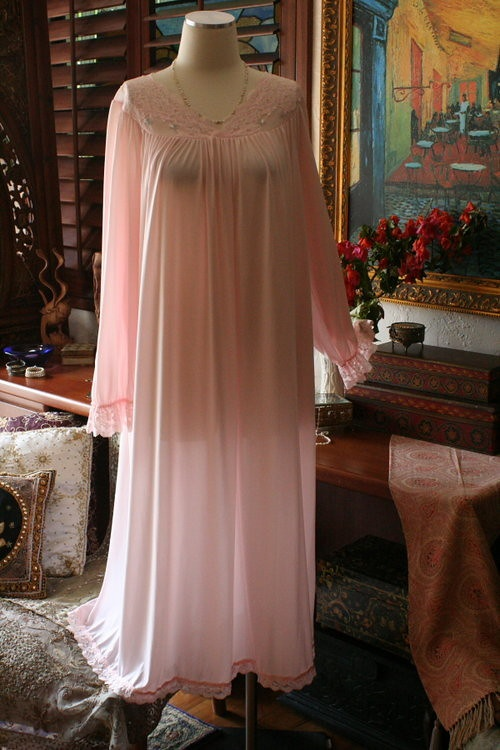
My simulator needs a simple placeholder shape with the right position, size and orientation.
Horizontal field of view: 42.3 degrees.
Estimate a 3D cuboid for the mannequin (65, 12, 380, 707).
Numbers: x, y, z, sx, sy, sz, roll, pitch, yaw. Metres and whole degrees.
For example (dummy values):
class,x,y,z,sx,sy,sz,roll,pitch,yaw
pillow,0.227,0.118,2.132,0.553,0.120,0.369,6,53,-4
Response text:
class,x,y,z,sx,sy,sz,roll,pitch,yaw
mannequin,-0.096,-0.031,1.129,0.635,1.155,0.416,-3,15,2
